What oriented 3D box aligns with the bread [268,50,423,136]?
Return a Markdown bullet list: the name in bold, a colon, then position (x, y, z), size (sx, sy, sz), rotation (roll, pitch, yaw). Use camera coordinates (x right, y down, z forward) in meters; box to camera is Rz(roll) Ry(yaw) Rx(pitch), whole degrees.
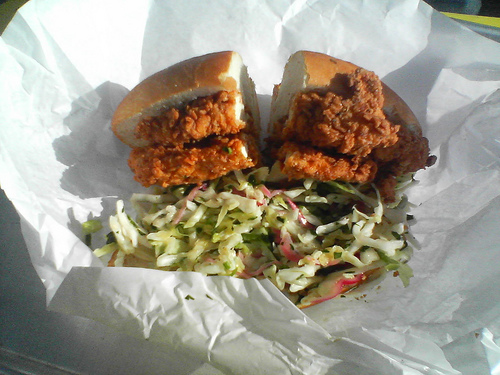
- **bread**: position (0.402, -0.352, 2.164), size (0.681, 0.408, 0.281), rotation (8, 49, 9)
